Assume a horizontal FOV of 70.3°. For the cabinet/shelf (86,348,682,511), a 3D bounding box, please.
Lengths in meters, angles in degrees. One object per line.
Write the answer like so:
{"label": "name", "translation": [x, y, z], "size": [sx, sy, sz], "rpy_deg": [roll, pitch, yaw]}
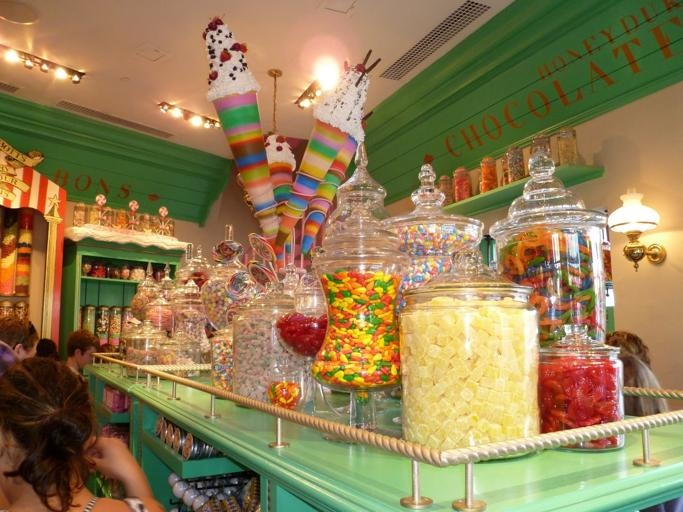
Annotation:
{"label": "cabinet/shelf", "translation": [-0.017, 0.407, 1.243], "size": [0.546, 0.149, 1.312], "rpy_deg": [0, -4, -43]}

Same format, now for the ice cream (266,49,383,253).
{"label": "ice cream", "translation": [-0.033, -0.331, 1.636], "size": [0.262, 0.665, 0.303], "rpy_deg": [3, -1, -37]}

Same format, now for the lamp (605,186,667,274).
{"label": "lamp", "translation": [2.101, -0.180, 3.466], "size": [0.368, 0.535, 0.312], "rpy_deg": [3, -10, -29]}
